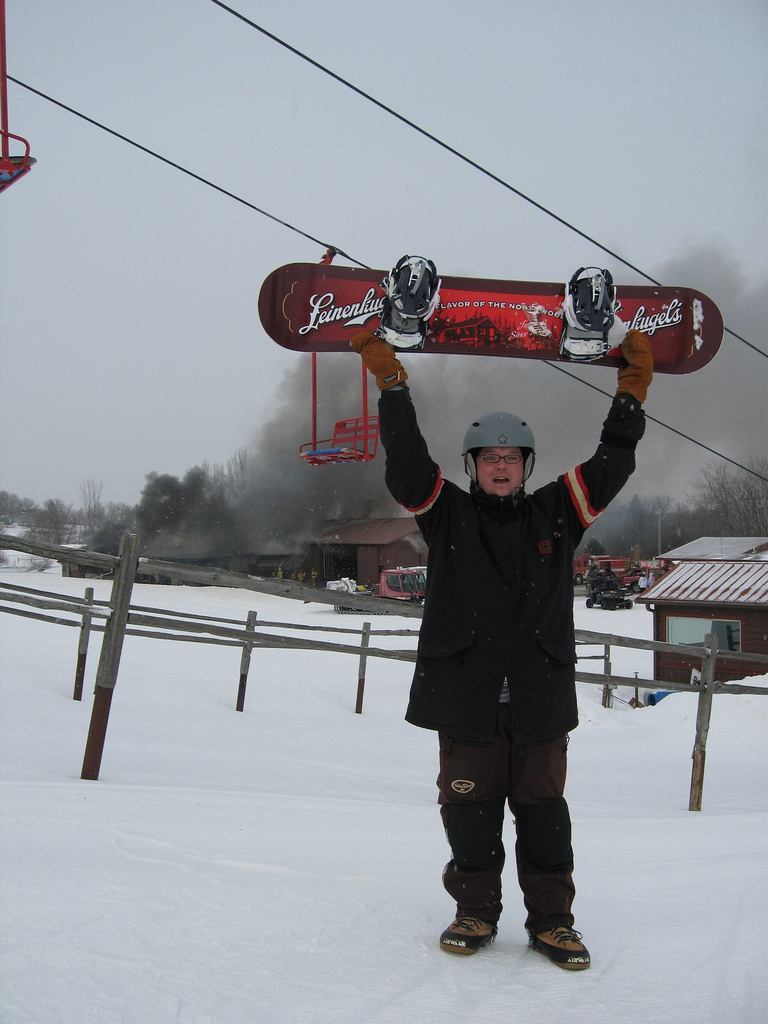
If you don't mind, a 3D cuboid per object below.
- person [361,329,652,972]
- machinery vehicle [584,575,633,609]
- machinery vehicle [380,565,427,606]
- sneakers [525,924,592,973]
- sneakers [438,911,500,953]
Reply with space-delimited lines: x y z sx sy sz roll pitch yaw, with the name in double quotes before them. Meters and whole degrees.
"person" 0.272 0.321 2.914 0.779 1.644 0.632 7 -5 8
"machinery vehicle" 7.088 2.538 32.716 1.075 0.879 1.373 3 1 4
"machinery vehicle" 0.595 2.274 32.390 1.337 1.232 2.999 1 -4 -21
"sneakers" 0.443 1.091 2.595 0.082 0.084 0.218 9 -5 -13
"sneakers" 0.206 1.082 2.621 0.060 0.061 0.163 -1 -20 22
